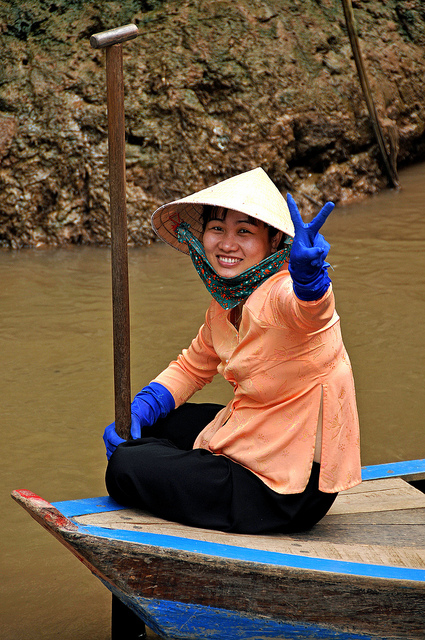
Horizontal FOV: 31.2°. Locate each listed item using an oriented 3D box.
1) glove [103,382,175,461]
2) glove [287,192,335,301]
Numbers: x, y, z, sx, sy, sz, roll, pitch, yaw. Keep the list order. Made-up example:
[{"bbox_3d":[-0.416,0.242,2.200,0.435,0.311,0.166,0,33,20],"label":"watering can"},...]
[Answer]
[{"bbox_3d":[-0.220,0.301,2.338,0.258,0.089,0.216,-36,2,-7],"label":"glove"},{"bbox_3d":[0.226,-0.168,1.749,0.123,0.249,0.233,-7,9,9],"label":"glove"}]
